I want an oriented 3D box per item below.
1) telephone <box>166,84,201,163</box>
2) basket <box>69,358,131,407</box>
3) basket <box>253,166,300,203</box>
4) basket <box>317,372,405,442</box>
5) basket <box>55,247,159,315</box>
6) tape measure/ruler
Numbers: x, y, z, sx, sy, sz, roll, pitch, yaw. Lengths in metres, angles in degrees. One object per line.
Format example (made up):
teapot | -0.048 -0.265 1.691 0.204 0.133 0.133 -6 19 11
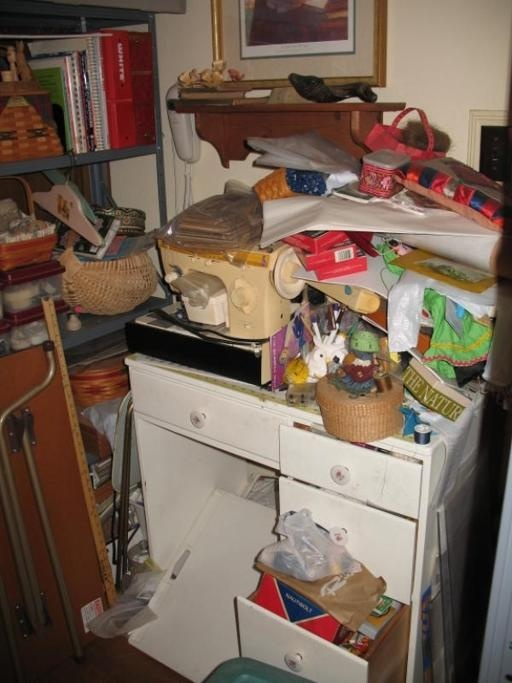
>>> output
telephone | -0.210 -0.646 1.569 0.068 0.234 0.101 18 27 33
basket | -0.463 0.122 1.544 0.148 0.091 0.148 -13 17 -21
basket | 0.036 -0.324 1.088 0.085 0.075 0.086 15 4 30
basket | 0.179 0.111 0.907 0.152 0.095 0.125 2 23 14
basket | -0.422 -0.183 1.577 0.243 0.194 0.235 20 29 34
tape measure/ruler | -0.494 0.305 1.437 0.059 0.936 0.063 -11 13 -3
